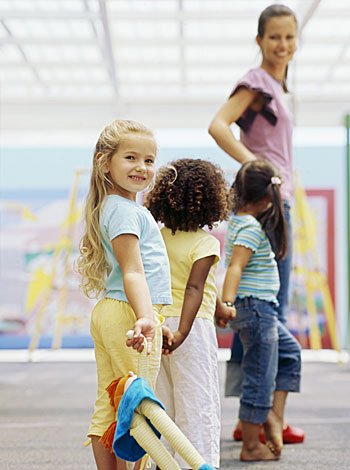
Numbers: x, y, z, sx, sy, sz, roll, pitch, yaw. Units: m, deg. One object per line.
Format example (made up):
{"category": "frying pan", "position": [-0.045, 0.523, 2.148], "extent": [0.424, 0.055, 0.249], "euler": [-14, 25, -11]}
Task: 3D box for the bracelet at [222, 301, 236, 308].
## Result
{"category": "bracelet", "position": [0.180, 0.234, 2.466], "extent": [0.039, 0.015, 0.043], "euler": [7, -2, -2]}
